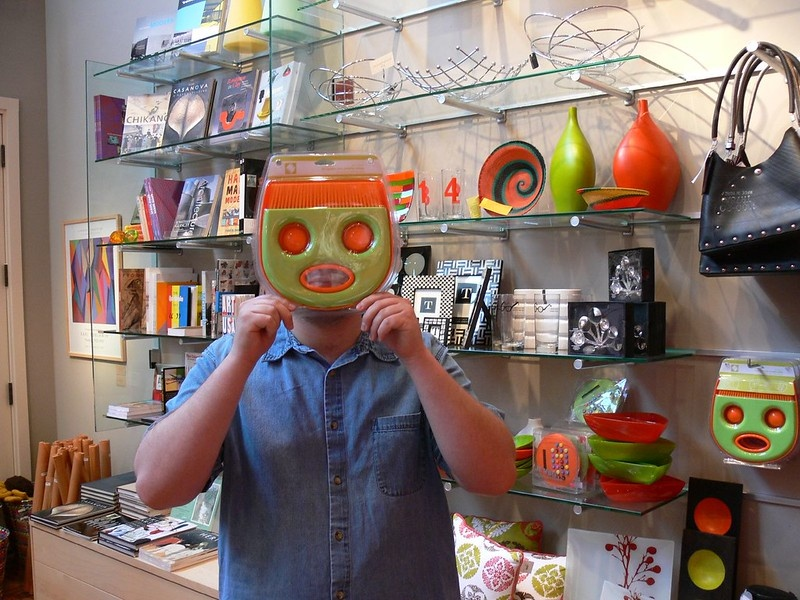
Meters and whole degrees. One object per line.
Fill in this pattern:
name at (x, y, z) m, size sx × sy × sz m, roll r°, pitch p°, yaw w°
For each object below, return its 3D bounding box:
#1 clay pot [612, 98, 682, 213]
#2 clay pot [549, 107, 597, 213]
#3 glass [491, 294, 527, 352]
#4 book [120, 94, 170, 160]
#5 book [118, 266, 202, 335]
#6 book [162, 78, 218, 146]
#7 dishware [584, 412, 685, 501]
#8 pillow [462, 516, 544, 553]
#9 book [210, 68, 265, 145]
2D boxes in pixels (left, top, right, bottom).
clay pot at (0.766, -0.450, 1.766) m, size 0.190 × 0.343 × 0.070 m, roll 0°, pitch 0°, yaw -12°
clay pot at (0.556, -0.449, 1.825) m, size 0.118 × 0.355 × 0.105 m, roll 0°, pitch 0°, yaw -25°
glass at (0.368, 0.086, 1.935) m, size 0.142 × 0.258 × 0.155 m, roll 0°, pitch -8°, yaw 2°
book at (-1.248, -0.852, 2.818) m, size 0.264 × 0.337 × 0.044 m, roll -8°, pitch -20°, yaw 24°
book at (-1.202, -0.008, 2.980) m, size 0.297 × 0.437 × 0.407 m, roll 1°, pitch 1°, yaw 39°
book at (-0.958, -0.883, 2.696) m, size 0.304 × 0.343 × 0.075 m, roll -8°, pitch -14°, yaw 26°
dishware at (0.693, 0.469, 1.696) m, size 0.300 × 0.252 × 0.241 m, roll -1°, pitch -4°, yaw 15°
pillow at (0.396, 0.832, 2.036) m, size 0.176 × 0.061 × 0.135 m, roll 2°, pitch 24°, yaw 22°
book at (-0.701, -0.827, 2.485) m, size 0.299 × 0.381 × 0.049 m, roll -8°, pitch -23°, yaw 42°
